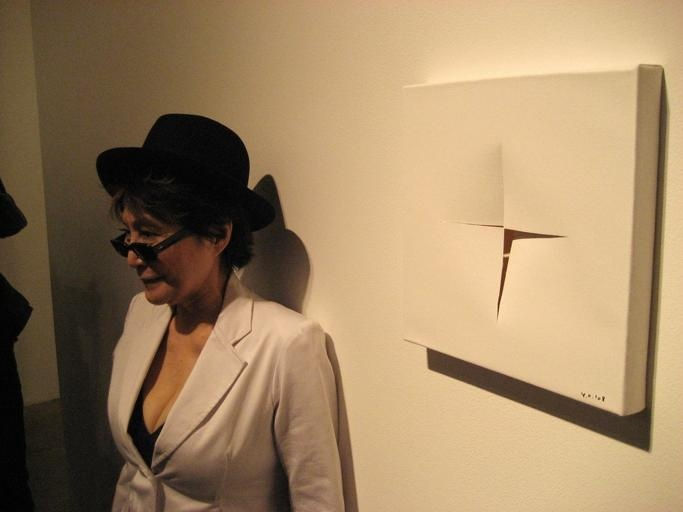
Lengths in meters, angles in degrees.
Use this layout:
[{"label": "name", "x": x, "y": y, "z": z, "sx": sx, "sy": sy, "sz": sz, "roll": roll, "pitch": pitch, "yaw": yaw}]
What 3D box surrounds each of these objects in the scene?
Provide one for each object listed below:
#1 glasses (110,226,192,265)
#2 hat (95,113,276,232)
[{"label": "glasses", "x": -0.500, "y": -0.021, "z": 1.713, "sx": 0.120, "sy": 0.039, "sz": 0.124, "roll": 5, "pitch": 25, "yaw": 41}, {"label": "hat", "x": -0.396, "y": -0.166, "z": 1.762, "sx": 0.362, "sy": 0.141, "sz": 0.306, "roll": 30, "pitch": -23, "yaw": -28}]
